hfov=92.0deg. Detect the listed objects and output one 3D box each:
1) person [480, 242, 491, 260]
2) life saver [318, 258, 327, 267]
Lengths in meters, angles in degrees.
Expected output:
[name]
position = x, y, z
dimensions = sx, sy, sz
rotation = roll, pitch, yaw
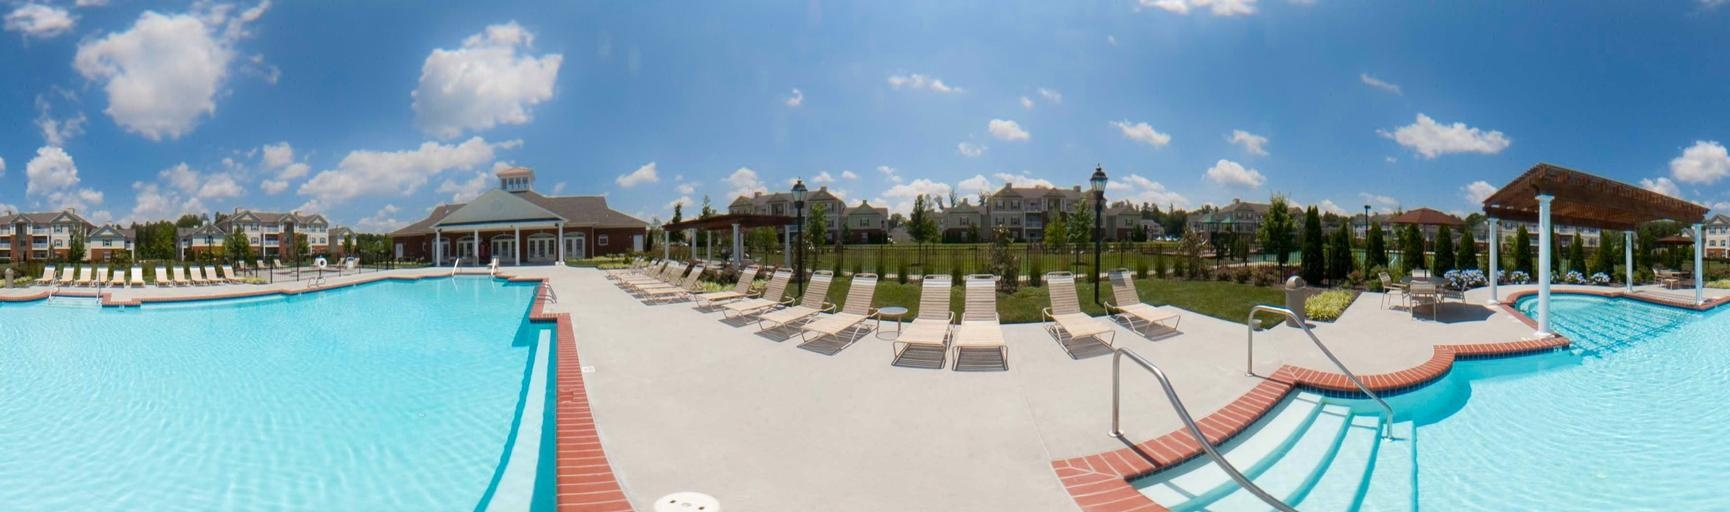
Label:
[person]
position = -51.947, -0.618, 114.890
dimensions = 1.548, 2.794, 0.589
rotation = -2, -2, 0
[life saver]
position = -64.957, 0.735, 100.430
dimensions = 0.744, 0.624, 1.502
rotation = -5, 1, -28
